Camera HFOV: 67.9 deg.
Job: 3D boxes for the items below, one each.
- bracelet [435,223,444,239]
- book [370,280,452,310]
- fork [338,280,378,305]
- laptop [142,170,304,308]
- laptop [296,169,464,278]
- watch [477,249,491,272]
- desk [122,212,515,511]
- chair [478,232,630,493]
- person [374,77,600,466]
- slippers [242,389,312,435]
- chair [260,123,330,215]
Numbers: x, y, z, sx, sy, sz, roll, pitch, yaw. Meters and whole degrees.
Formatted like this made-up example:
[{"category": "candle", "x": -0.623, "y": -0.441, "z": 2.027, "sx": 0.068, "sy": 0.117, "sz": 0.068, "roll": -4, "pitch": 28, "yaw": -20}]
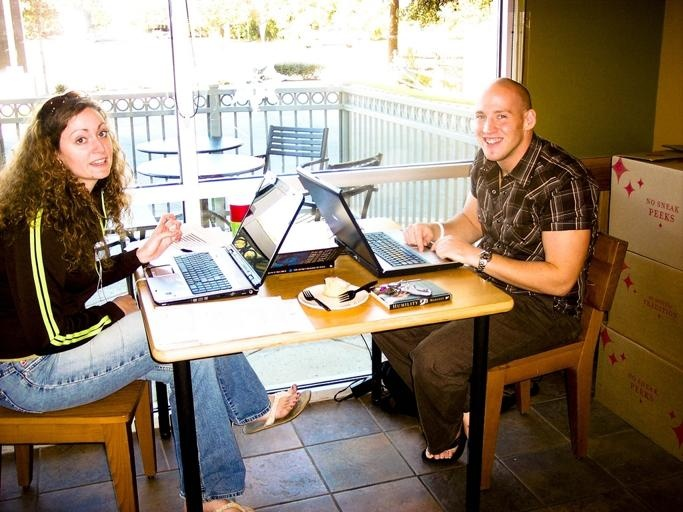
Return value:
[{"category": "bracelet", "x": 0.425, "y": -0.109, "z": 2.215, "sx": 0.019, "sy": 0.079, "sz": 0.073, "roll": -5, "pitch": 17, "yaw": 18}, {"category": "book", "x": 0.222, "y": 0.122, "z": 1.614, "sx": 0.125, "sy": 0.021, "sz": 0.123, "roll": -7, "pitch": 18, "yaw": -16}, {"category": "fork", "x": 0.060, "y": 0.106, "z": 1.704, "sx": 0.234, "sy": 0.033, "sz": 0.039, "roll": -20, "pitch": 67, "yaw": -49}, {"category": "laptop", "x": -0.408, "y": -0.015, "z": 1.842, "sx": 0.525, "sy": 0.330, "sz": 0.518, "roll": -2, "pitch": 24, "yaw": -16}, {"category": "laptop", "x": 0.143, "y": -0.134, "z": 1.906, "sx": 0.476, "sy": 0.301, "sz": 0.493, "roll": -7, "pitch": 24, "yaw": -21}, {"category": "watch", "x": 0.534, "y": 0.016, "z": 1.925, "sx": 0.054, "sy": 0.073, "sz": 0.071, "roll": 15, "pitch": 23, "yaw": 7}, {"category": "desk", "x": -0.047, "y": 0.209, "z": 1.852, "sx": 1.031, "sy": 0.758, "sz": 0.843, "roll": -6, "pitch": 18, "yaw": -15}, {"category": "chair", "x": 0.851, "y": 0.359, "z": 2.316, "sx": 0.666, "sy": 0.882, "sz": 0.606, "roll": -6, "pitch": 16, "yaw": -7}, {"category": "person", "x": 0.635, "y": 0.113, "z": 2.224, "sx": 0.869, "sy": 1.583, "sz": 0.810, "roll": -4, "pitch": 13, "yaw": -21}, {"category": "slippers", "x": -0.260, "y": 0.680, "z": 2.152, "sx": 0.159, "sy": 0.054, "sz": 0.307, "roll": 6, "pitch": 19, "yaw": 41}, {"category": "chair", "x": -0.213, "y": -0.556, "z": 2.953, "sx": 0.451, "sy": 0.599, "sz": 0.441, "roll": 0, "pitch": 43, "yaw": -3}]
